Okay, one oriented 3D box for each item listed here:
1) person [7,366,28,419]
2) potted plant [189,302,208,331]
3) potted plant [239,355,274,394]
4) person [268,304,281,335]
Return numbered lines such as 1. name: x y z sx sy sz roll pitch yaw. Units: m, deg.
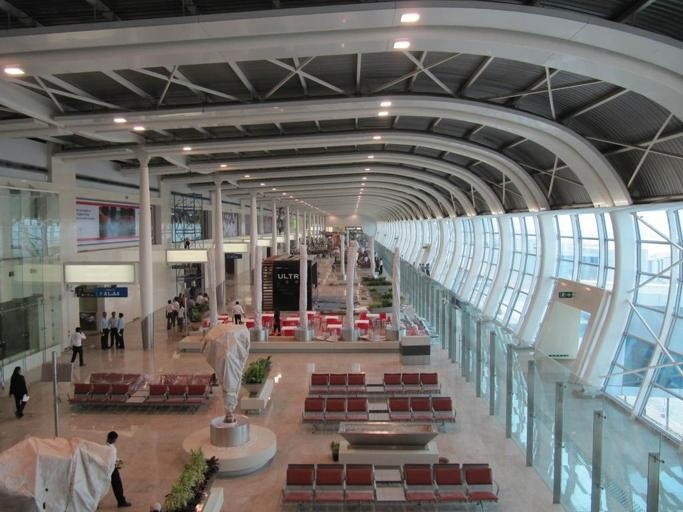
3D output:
1. person: -10.810 4.498 17.329 0.517 1.707 0.893 -2 4 -33
2. potted plant: -7.918 3.412 28.649 1.331 1.509 1.064 2 6 16
3. potted plant: -3.057 4.406 18.840 0.734 0.989 1.371 1 3 7
4. person: -3.359 3.348 27.103 0.386 1.249 1.905 0 3 -8
